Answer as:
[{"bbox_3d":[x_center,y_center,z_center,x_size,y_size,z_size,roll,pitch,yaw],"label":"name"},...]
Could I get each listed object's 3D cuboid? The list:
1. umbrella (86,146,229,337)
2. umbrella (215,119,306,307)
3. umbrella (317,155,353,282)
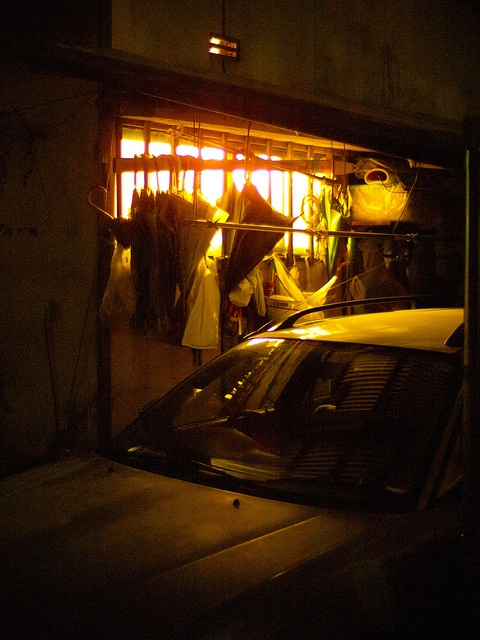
[{"bbox_3d":[-0.647,-0.592,4.665,0.994,1.796,0.983,-8,27,-35],"label":"umbrella"},{"bbox_3d":[0.218,-0.746,4.812,0.537,1.450,0.641,1,4,11],"label":"umbrella"},{"bbox_3d":[0.789,-0.887,5.100,0.187,1.379,0.190,2,-2,-5],"label":"umbrella"}]
